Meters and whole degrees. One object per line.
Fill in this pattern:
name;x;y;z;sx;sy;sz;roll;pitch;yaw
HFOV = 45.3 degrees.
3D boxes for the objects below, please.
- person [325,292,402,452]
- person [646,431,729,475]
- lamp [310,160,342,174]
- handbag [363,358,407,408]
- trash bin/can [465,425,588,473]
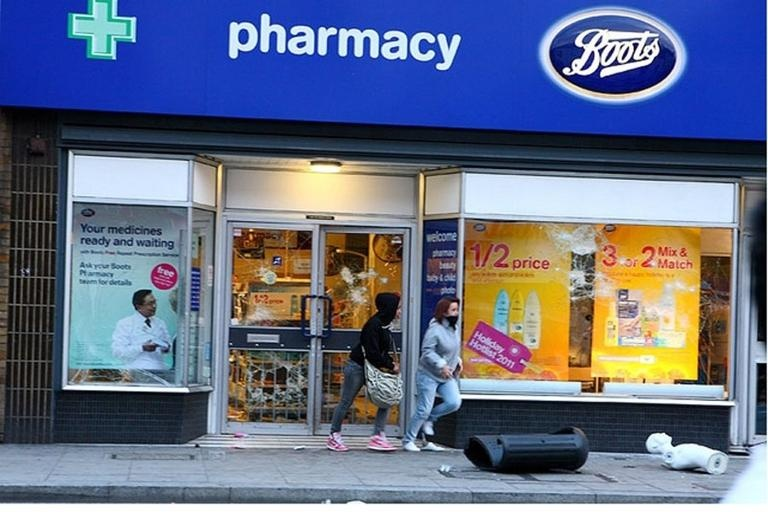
person;-0.201;1.613;12.719;1.248;2.094;0.728;-4;-15;27
person;4.027;2.657;12.349;0.565;0.341;1.118;-4;5;-36
lamp;-0.834;-1.294;13.362;0.480;0.113;0.436;2;0;-4
handbag;-0.014;1.748;12.516;0.525;0.431;0.283;3;-1;-8
trash bin/can;1.831;2.490;11.784;1.515;0.570;0.511;2;-1;-9
